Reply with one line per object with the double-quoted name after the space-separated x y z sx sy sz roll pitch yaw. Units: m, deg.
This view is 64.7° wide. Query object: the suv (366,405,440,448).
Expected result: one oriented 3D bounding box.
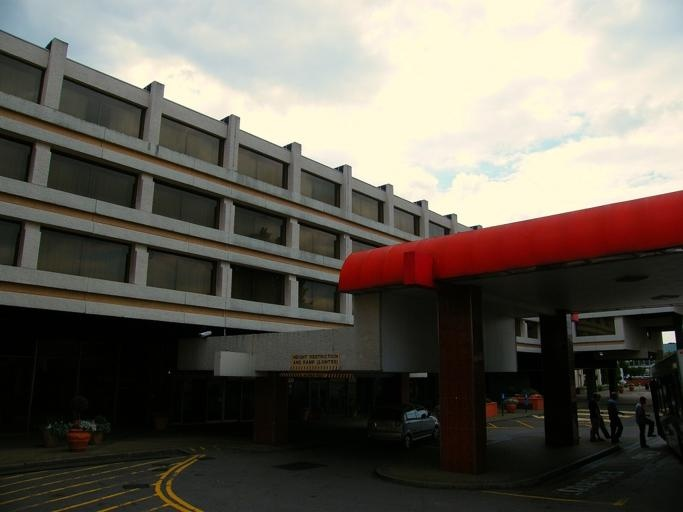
3.545 8.949 29.169 2.010 1.476 3.922 -10 -14 38 "suv"
